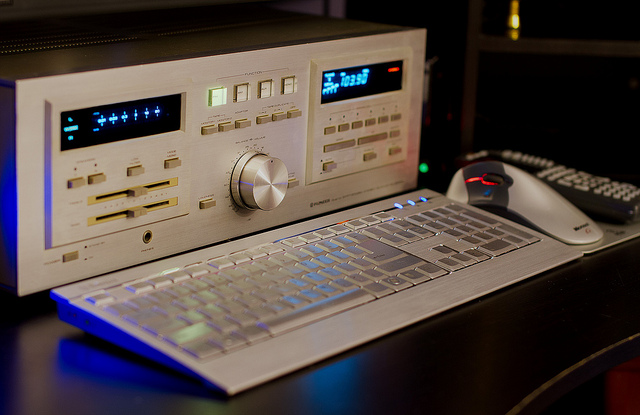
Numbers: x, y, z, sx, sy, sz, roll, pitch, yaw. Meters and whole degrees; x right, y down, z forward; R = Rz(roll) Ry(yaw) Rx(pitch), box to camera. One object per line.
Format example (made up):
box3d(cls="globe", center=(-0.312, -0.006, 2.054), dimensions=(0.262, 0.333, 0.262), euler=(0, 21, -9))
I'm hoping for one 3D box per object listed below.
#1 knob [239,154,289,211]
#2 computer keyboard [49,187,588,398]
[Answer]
box3d(cls="knob", center=(-0.104, -0.041, 1.061), dimensions=(0.083, 0.076, 0.050), euler=(-4, 4, -40))
box3d(cls="computer keyboard", center=(-0.001, 0.112, 0.934), dimensions=(0.629, 0.059, 0.281), euler=(-13, 20, -37))
